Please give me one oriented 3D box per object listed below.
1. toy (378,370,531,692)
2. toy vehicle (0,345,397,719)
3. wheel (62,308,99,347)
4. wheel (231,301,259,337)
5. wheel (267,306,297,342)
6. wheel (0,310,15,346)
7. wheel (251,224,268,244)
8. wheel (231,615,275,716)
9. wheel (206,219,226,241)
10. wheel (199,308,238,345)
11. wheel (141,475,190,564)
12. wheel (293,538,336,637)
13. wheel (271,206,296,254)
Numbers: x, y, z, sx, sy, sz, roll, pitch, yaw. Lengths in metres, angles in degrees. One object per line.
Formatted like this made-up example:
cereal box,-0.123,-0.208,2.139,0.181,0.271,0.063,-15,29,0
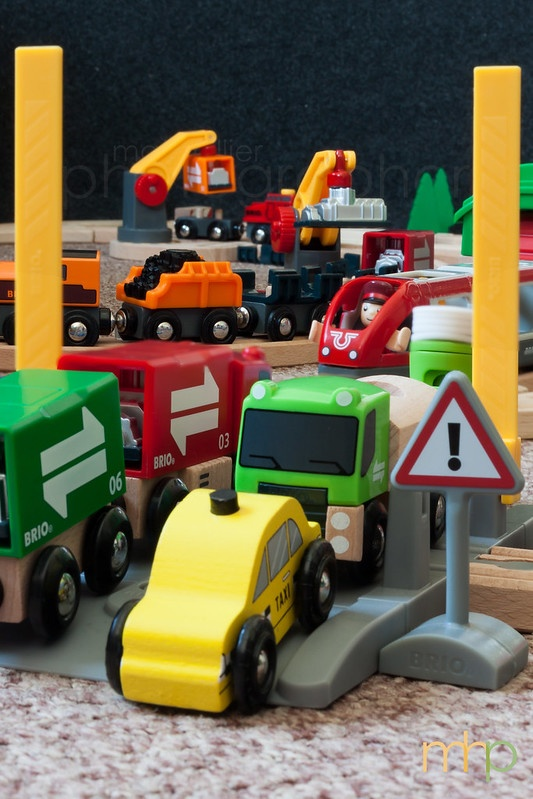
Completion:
toy,0.384,0.267,1.632,0.295,0.661,0.202,1,11,20
toy vehicle,-0.069,0.321,1.753,0.385,0.337,0.743,4,12,24
wheel,-1.139,-0.441,4.853,0.209,0.231,0.099,-6,11,-14
wheel,-0.098,-0.544,5.319,0.211,0.191,0.203,-3,18,1
wheel,0.104,-0.509,5.250,0.056,0.176,0.182,19,46,39
wheel,-1.603,-0.436,4.899,0.070,0.196,0.157,-8,11,-24
wheel,-0.072,-1.914,9.106,0.201,0.190,0.190,-12,12,3
wheel,-0.025,0.476,1.412,0.052,0.140,0.157,1,39,22
wheel,-0.600,-2.115,9.782,0.256,0.239,0.128,-11,5,25
wheel,-0.268,-0.468,5.037,0.132,0.226,0.331,4,12,35
wheel,-0.285,0.333,2.217,0.067,0.191,0.200,8,-19,18
wheel,0.103,0.410,1.711,0.070,0.204,0.189,2,-17,26
wheel,0.131,-1.199,5.587,0.163,0.295,0.303,1,-34,-3
